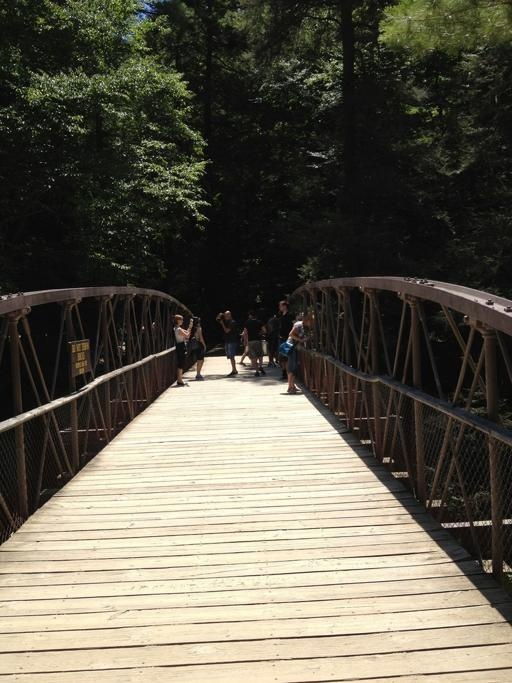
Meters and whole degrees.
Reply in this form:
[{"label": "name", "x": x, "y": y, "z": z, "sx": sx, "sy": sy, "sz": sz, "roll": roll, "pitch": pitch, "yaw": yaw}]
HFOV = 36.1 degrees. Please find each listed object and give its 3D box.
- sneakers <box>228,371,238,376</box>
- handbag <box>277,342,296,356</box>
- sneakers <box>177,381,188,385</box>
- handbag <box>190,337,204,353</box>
[{"label": "sneakers", "x": -0.432, "y": 0.605, "z": 14.591, "sx": 0.182, "sy": 0.070, "sz": 0.065, "roll": -9, "pitch": -6, "yaw": -23}, {"label": "handbag", "x": 0.406, "y": 0.086, "z": 10.821, "sx": 0.136, "sy": 0.214, "sz": 0.376, "roll": -4, "pitch": 4, "yaw": -23}, {"label": "sneakers", "x": -1.219, "y": 0.699, "z": 13.025, "sx": 0.194, "sy": 0.070, "sz": 0.065, "roll": -5, "pitch": -3, "yaw": 42}, {"label": "handbag", "x": -1.003, "y": 0.045, "z": 13.316, "sx": 0.211, "sy": 0.289, "sz": 0.159, "roll": 3, "pitch": 26, "yaw": 7}]
